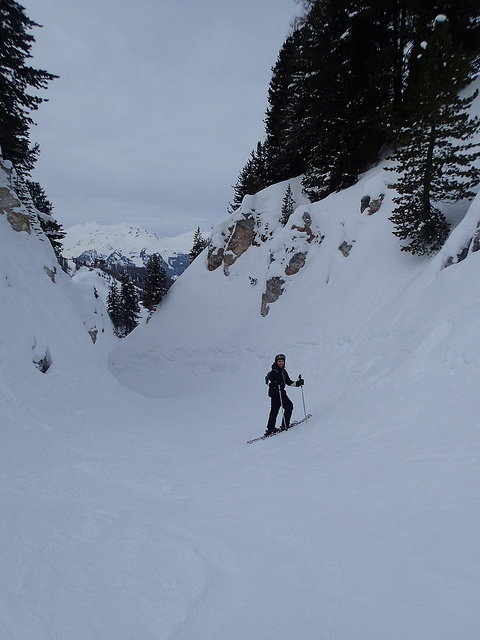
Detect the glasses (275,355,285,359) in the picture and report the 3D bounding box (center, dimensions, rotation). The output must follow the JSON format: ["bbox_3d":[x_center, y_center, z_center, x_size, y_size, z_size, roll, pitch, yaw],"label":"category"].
[{"bbox_3d":[0.937,0.886,15.358,0.135,0.090,0.168,1,14,-3],"label":"glasses"}]

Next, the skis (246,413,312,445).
[{"bbox_3d":[0.961,2.625,15.324,1.387,0.122,0.162,-24,31,-7],"label":"skis"}]
